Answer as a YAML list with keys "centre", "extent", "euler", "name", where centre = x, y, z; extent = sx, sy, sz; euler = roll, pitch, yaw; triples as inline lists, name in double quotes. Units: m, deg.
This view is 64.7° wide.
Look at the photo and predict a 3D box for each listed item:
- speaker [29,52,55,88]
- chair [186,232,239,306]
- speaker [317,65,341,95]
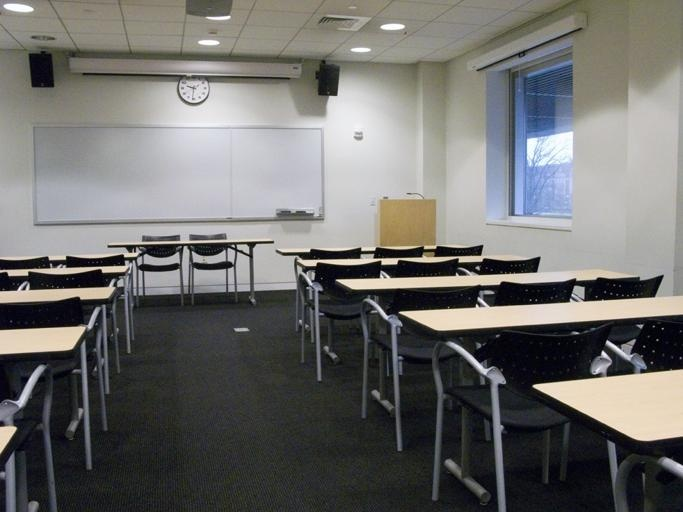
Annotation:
- centre: [-4.198, -2.629, 7.564]
  extent: [0.309, 0.491, 0.255]
  euler: [-5, 8, -29]
  name: "speaker"
- centre: [-1.889, 0.184, 7.842]
  extent: [0.822, 1.525, 0.979]
  euler: [0, -1, -18]
  name: "chair"
- centre: [-0.199, -2.666, 8.302]
  extent: [0.394, 0.647, 0.401]
  euler: [1, 10, -7]
  name: "speaker"
